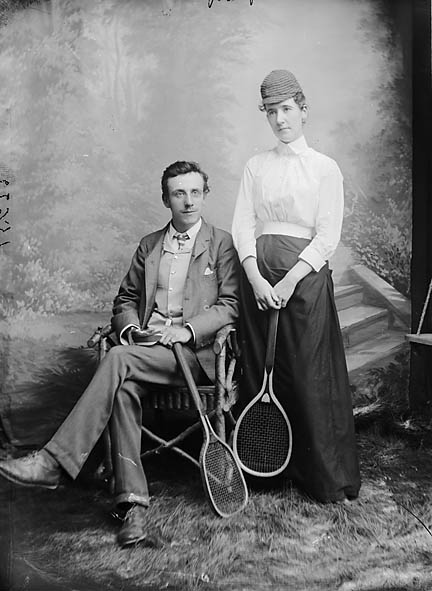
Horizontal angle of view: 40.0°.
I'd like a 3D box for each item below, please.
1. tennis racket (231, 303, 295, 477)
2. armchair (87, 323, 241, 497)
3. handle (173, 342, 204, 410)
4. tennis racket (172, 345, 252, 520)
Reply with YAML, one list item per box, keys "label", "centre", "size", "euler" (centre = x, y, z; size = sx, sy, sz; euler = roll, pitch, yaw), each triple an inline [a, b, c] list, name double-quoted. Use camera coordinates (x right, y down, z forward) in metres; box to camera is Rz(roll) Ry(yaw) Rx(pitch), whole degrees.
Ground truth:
- label: "tennis racket"
  centre: [0.236, 0.438, 2.758]
  size: [0.257, 0.052, 0.883]
  euler: [-1, 46, 9]
- label: "armchair"
  centre: [-0.167, 0.504, 3.044]
  size: [0.728, 1.103, 0.740]
  euler: [0, -8, 6]
- label: "handle"
  centre: [-0.129, 0.364, 2.704]
  size: [0.037, 0.040, 0.362]
  euler: [-21, 55, 0]
- label: "tennis racket"
  centre: [-0.032, 0.608, 2.537]
  size: [0.169, 0.052, 0.774]
  euler: [2, 58, -36]
